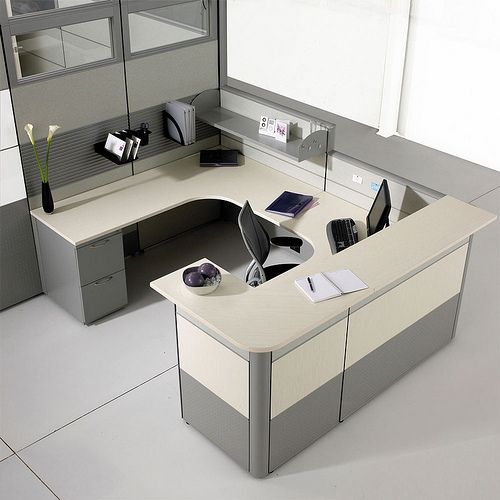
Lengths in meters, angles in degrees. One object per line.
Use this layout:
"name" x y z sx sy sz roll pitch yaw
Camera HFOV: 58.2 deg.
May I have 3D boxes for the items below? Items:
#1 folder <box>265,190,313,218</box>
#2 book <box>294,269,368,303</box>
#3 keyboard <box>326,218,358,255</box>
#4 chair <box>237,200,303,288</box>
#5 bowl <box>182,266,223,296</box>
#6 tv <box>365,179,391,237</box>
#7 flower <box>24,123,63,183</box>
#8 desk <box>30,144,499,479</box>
"folder" 0.301 -0.363 3.537 0.243 0.045 0.239 13 43 35
"book" 0.387 0.163 2.155 0.315 0.033 0.216 -9 33 -21
"keyboard" 0.657 -0.110 3.219 0.156 0.096 0.293 -16 42 4
"chair" 0.152 -0.051 3.271 0.334 0.551 0.367 9 34 18
"bowl" -0.215 0.138 2.165 0.217 0.092 0.139 -21 37 -36
"tv" 0.859 -0.282 2.998 0.142 0.261 0.359 23 13 -3
"flower" -1.504 -0.715 3.238 0.155 0.386 0.237 29 41 28
"desk" -0.272 0.011 2.864 2.250 0.955 2.241 -28 44 -33
